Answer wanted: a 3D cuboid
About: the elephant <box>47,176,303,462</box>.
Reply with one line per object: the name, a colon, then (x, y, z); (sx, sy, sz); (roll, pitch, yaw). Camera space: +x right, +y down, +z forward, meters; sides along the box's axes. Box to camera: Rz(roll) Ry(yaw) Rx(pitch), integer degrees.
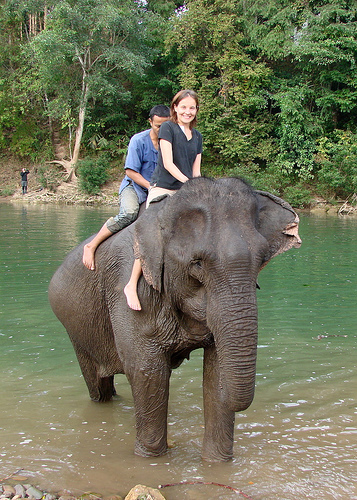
elephant: (-0.107, 0.489, 3.666); (1.093, 1.497, 2.441); (1, -6, -23)
